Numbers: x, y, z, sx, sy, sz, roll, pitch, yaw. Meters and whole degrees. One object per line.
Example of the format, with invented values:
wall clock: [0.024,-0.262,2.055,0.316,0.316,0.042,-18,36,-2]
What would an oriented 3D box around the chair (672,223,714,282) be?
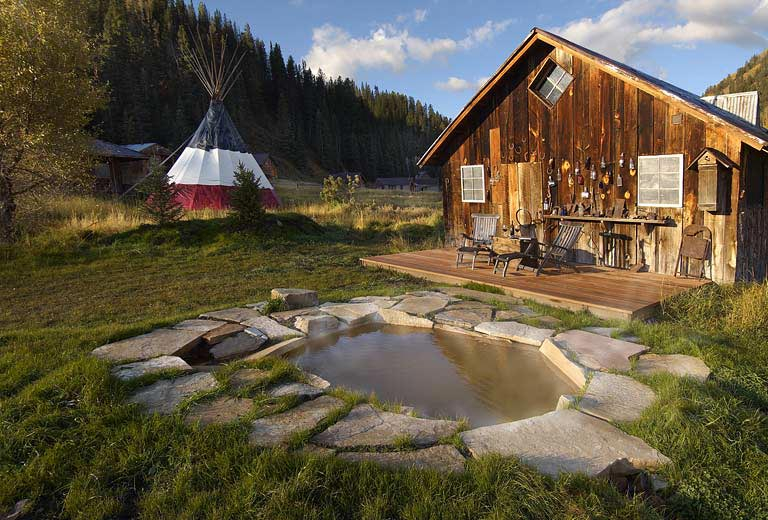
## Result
chair: [7.157,-0.170,12.190,0.596,1.208,0.726,-12,18,-35]

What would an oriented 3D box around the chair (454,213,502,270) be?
chair: [2.610,-0.551,15.062,1.046,1.584,0.838,-3,6,-41]
